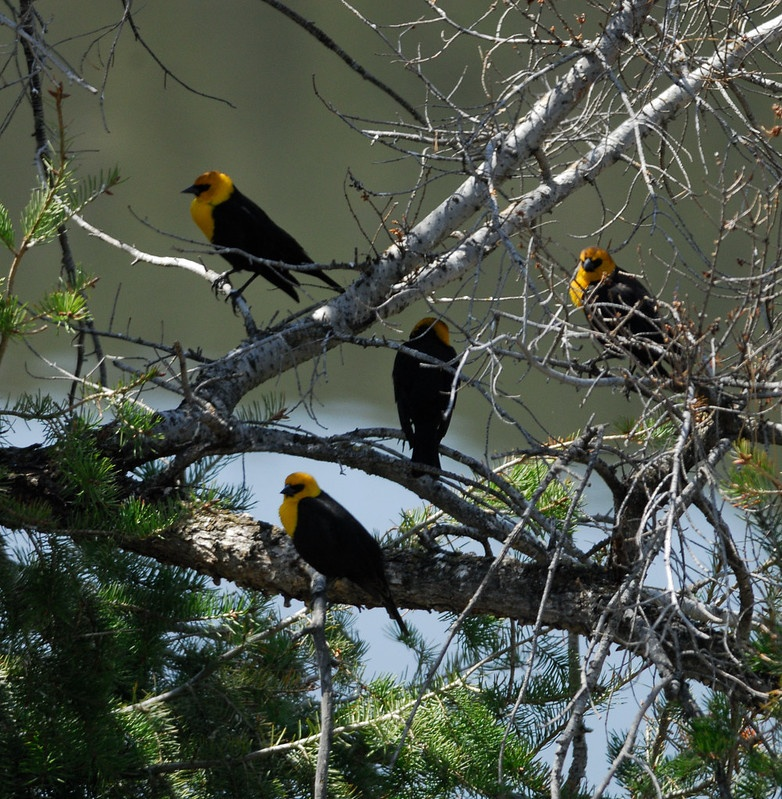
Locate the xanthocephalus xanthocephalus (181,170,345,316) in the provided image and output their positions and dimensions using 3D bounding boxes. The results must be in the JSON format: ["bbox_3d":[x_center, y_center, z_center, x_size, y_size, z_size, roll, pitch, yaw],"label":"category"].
[{"bbox_3d":[-0.578,-0.682,6.605,0.824,0.491,0.273,1,7,-39],"label":"xanthocephalus xanthocephalus"}]
